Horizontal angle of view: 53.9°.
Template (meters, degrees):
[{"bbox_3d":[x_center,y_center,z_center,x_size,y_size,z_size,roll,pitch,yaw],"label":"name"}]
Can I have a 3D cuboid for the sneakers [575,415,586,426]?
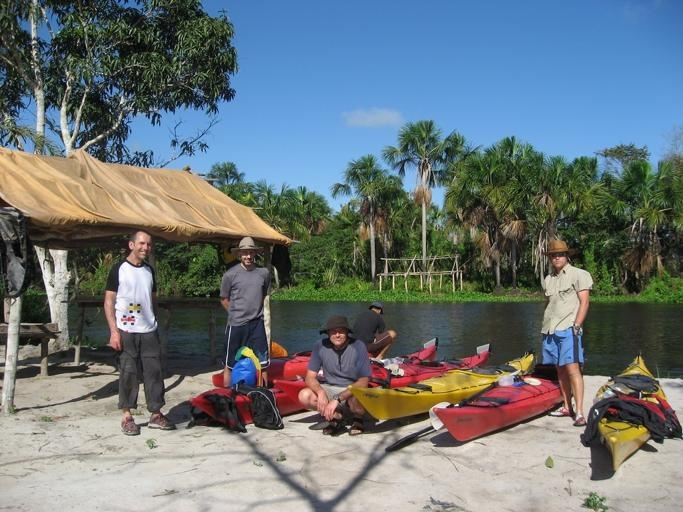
[{"bbox_3d":[3.396,2.407,9.907,0.162,0.186,0.264,2,2,19],"label":"sneakers"}]

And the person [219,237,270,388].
[{"bbox_3d":[-1.477,0.880,10.478,0.723,2.343,0.424,1,3,-7],"label":"person"}]

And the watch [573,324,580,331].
[{"bbox_3d":[3.328,1.045,9.828,0.074,0.089,0.056,1,-6,8],"label":"watch"}]

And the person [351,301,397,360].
[{"bbox_3d":[0.476,1.473,12.937,0.894,1.146,0.914,11,-5,-43],"label":"person"}]

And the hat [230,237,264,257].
[{"bbox_3d":[-1.485,-0.203,10.711,0.421,0.166,0.456,1,-8,-7],"label":"hat"}]

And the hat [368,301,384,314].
[{"bbox_3d":[0.643,0.979,12.934,0.251,0.155,0.321,11,-12,7],"label":"hat"}]

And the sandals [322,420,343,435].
[{"bbox_3d":[-0.123,2.521,9.815,0.150,0.117,0.317,-3,-16,24],"label":"sandals"}]

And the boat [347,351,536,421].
[{"bbox_3d":[2.146,2.069,11.255,5.250,0.688,0.855,2,-4,-42],"label":"boat"}]

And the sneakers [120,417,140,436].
[{"bbox_3d":[-2.857,2.379,9.363,0.166,0.150,0.354,6,-10,-32],"label":"sneakers"}]

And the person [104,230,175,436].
[{"bbox_3d":[-2.784,1.070,9.352,0.611,2.830,0.839,4,3,36],"label":"person"}]

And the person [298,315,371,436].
[{"bbox_3d":[-0.089,1.706,9.742,0.976,1.741,0.849,2,3,1],"label":"person"}]

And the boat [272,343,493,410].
[{"bbox_3d":[0.912,1.940,11.527,1.271,0.925,5.894,-4,-8,38],"label":"boat"}]

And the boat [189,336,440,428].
[{"bbox_3d":[-0.421,2.098,11.440,4.530,0.843,1.418,-4,2,-41],"label":"boat"}]

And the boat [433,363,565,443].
[{"bbox_3d":[2.315,2.130,10.026,0.810,0.526,2.553,-9,-6,39],"label":"boat"}]

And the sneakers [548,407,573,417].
[{"bbox_3d":[3.287,2.416,10.438,0.322,0.120,0.130,5,-18,2],"label":"sneakers"}]

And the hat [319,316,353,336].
[{"bbox_3d":[-0.073,0.979,9.676,0.446,0.182,0.524,-1,-2,2],"label":"hat"}]
